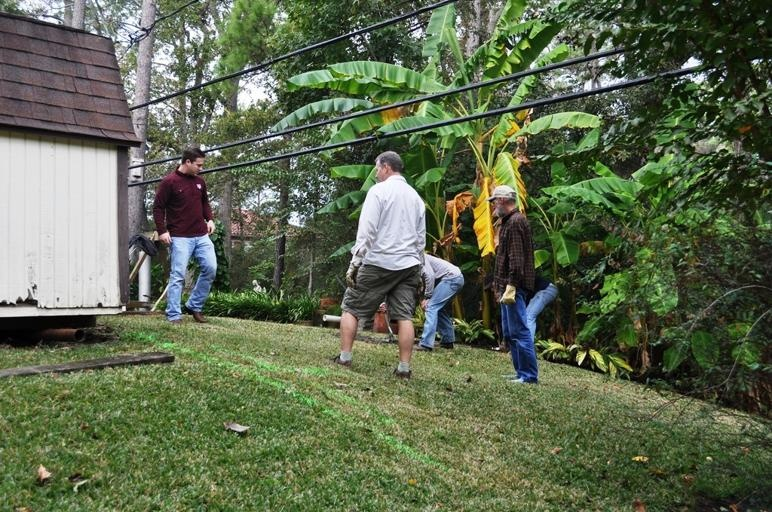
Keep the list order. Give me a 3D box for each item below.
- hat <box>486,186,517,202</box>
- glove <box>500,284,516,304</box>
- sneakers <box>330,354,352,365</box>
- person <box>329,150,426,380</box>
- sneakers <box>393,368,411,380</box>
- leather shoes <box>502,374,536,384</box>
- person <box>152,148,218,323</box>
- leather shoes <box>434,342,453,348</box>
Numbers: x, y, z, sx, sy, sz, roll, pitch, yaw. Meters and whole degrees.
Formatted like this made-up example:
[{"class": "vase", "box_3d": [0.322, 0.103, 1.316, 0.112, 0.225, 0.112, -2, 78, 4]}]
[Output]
[{"class": "hat", "box_3d": [1.583, -0.835, 7.636, 0.410, 0.209, 0.288, 3, -3, 13]}, {"class": "glove", "box_3d": [1.587, 0.503, 7.250, 0.173, 0.252, 0.116, 8, 1, 13]}, {"class": "sneakers", "box_3d": [-0.570, 1.291, 6.986, 0.276, 0.121, 0.102, 1, -5, 43]}, {"class": "person", "box_3d": [0.013, 0.083, 6.866, 0.944, 2.692, 0.551, 8, 1, -4]}, {"class": "sneakers", "box_3d": [0.201, 1.456, 6.895, 0.088, 0.093, 0.223, 8, -4, -27]}, {"class": "leather shoes", "box_3d": [1.851, 1.713, 7.763, 0.424, 0.175, 0.130, 5, -7, 26]}, {"class": "person", "box_3d": [-2.996, -0.297, 8.301, 1.040, 2.416, 0.664, 7, 1, -40]}, {"class": "leather shoes", "box_3d": [1.054, 1.636, 10.226, 0.311, 0.128, 0.107, 1, -4, 36]}]
